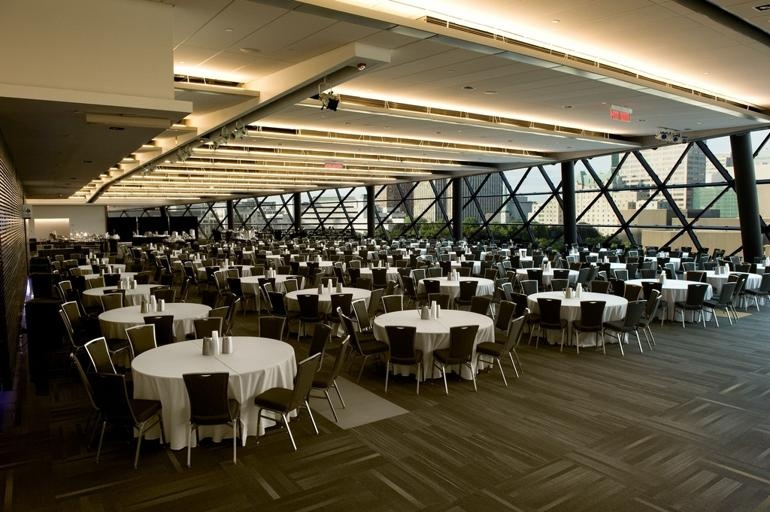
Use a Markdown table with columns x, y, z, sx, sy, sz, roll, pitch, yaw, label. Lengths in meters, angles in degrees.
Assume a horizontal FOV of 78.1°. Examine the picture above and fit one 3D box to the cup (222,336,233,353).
| x | y | z | sx | sy | sz | roll | pitch | yaw | label |
| --- | --- | --- | --- | --- | --- | --- | --- | --- | --- |
| -2.200 | 1.230 | 6.585 | 0.119 | 0.233 | 0.098 | -1 | 14 | -2 | cup |
